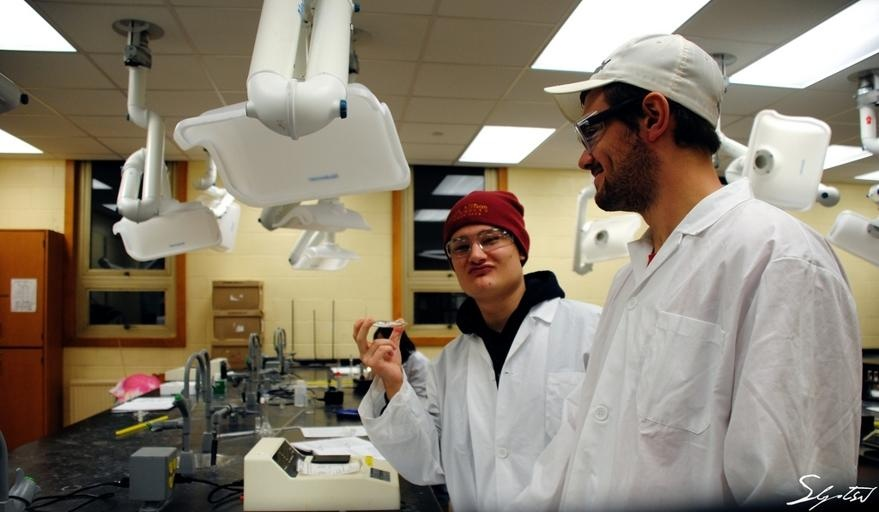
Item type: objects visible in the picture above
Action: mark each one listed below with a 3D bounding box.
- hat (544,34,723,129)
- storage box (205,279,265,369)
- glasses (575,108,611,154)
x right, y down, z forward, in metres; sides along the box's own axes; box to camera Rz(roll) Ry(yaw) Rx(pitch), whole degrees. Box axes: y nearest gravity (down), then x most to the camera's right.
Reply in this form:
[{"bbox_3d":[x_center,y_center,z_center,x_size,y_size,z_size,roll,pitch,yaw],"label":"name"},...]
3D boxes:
[{"bbox_3d":[0.892,-0.796,2.908,0.697,0.362,0.448,13,-4,8],"label":"hat"},{"bbox_3d":[-2.272,0.765,6.988,0.513,0.972,0.191,-1,-8,-16],"label":"storage box"},{"bbox_3d":[0.675,-0.573,2.782,0.146,0.085,0.176,-23,22,50],"label":"glasses"}]
